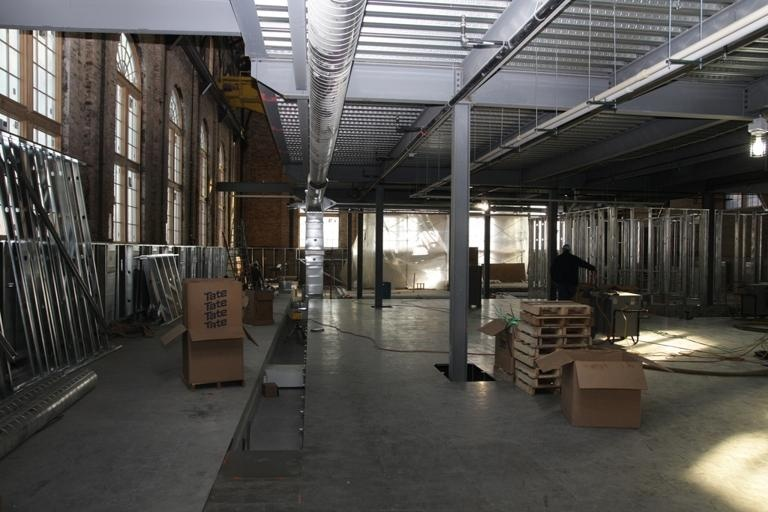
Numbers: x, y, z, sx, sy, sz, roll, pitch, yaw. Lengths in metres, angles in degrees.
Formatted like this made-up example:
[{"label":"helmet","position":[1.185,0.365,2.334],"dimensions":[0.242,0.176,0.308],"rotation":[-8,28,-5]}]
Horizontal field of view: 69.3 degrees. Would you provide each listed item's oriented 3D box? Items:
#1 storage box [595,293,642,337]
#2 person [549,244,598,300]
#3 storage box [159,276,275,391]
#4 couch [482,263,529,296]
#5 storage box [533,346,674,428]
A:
[{"label":"storage box","position":[5.202,1.343,12.423],"dimensions":[0.746,0.952,1.211],"rotation":[1,-4,-4]},{"label":"person","position":[4.741,0.449,14.370],"dimensions":[0.800,1.503,0.743],"rotation":[4,9,17]},{"label":"storage box","position":[-2.540,1.135,8.190],"dimensions":[1.064,1.531,0.597],"rotation":[0,9,-12]},{"label":"couch","position":[6.137,1.074,27.435],"dimensions":[2.287,2.116,1.680],"rotation":[0,-1,-7]},{"label":"storage box","position":[2.806,1.723,7.442],"dimensions":[1.171,0.553,1.065],"rotation":[0,-1,-2]}]
